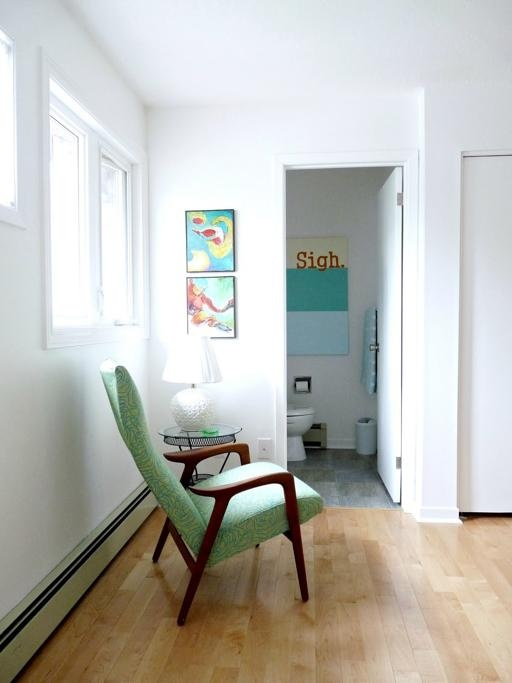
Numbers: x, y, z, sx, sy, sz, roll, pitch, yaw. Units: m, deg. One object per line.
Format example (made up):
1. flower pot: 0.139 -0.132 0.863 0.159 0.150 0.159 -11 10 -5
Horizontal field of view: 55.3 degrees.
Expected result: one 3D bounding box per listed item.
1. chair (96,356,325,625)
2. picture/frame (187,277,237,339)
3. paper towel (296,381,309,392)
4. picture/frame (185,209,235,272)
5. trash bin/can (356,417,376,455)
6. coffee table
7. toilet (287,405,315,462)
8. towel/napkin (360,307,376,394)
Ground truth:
1. chair: -0.154 0.562 1.995 0.740 0.972 0.538 -4 6 -25
2. picture/frame: -0.290 -0.209 3.068 0.306 0.457 0.006 0 -27 -8
3. paper towel: 0.430 0.412 4.538 0.096 0.120 0.072 -1 -1 6
4. picture/frame: -0.287 -0.631 3.058 0.310 0.427 0.006 -4 38 -10
5. trash bin/can: 0.968 0.856 4.318 0.170 0.275 0.116 -1 -1 15
6. coffee table: -0.253 0.619 2.552 0.385 0.329 0.438 -3 -2 26
7. toilet: 0.351 0.785 4.129 0.259 0.475 0.356 -1 -3 -1
8. towel/napkin: 0.940 0.079 4.088 0.122 0.693 0.821 0 -1 12
